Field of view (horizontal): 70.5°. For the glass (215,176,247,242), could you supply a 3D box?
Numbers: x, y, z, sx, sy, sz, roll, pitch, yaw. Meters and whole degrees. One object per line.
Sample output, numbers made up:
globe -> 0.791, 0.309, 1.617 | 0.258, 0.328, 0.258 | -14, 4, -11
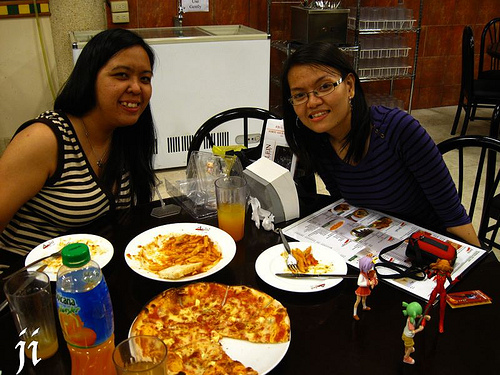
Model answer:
glass -> -0.061, 0.108, 1.316 | 0.111, 0.216, 0.125 | -9, 0, 8

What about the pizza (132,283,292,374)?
pizza -> -0.087, 0.345, 0.876 | 0.370, 0.078, 0.279 | 1, 22, 11

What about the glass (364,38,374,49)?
glass -> 1.417, -1.726, 4.207 | 0.105, 0.124, 0.103 | 2, 14, 15

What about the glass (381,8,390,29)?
glass -> 1.584, -1.997, 4.137 | 0.110, 0.217, 0.063 | -4, 18, -4

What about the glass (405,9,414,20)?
glass -> 1.887, -2.070, 4.192 | 0.069, 0.118, 0.098 | 11, 24, 34

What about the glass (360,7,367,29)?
glass -> 1.316, -1.973, 4.094 | 0.083, 0.227, 0.114 | 4, 20, 18

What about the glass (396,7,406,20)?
glass -> 1.770, -2.058, 4.162 | 0.119, 0.151, 0.126 | -3, 23, 0

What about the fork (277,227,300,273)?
fork -> 0.136, 0.206, 1.180 | 0.022, 0.022, 0.181 | 0, 36, -10

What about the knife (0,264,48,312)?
knife -> -0.569, 0.259, 0.900 | 0.015, 0.008, 0.147 | 25, 57, 10

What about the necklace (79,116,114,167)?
necklace -> -0.647, -0.208, 1.537 | 0.125, 0.214, 0.079 | -11, 20, -24
